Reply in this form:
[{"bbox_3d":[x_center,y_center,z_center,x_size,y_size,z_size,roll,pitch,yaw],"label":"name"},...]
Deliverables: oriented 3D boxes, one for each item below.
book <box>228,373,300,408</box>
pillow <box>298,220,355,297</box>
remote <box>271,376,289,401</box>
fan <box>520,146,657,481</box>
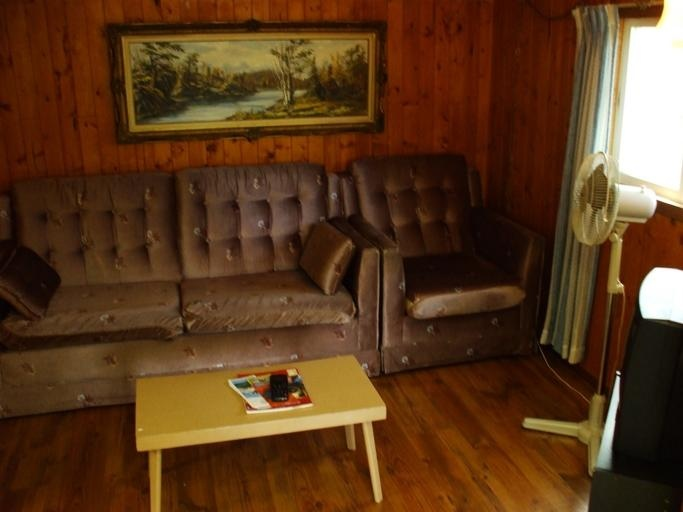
[{"bbox_3d":[-0.363,0.623,2.621,0.190,0.029,0.177,-4,13,-24],"label":"book"},{"bbox_3d":[-0.095,0.026,3.484,0.147,0.415,0.395,6,27,-39],"label":"pillow"},{"bbox_3d":[-0.288,0.603,2.603,0.059,0.025,0.104,0,29,-6],"label":"remote"},{"bbox_3d":[1.240,0.232,2.871,0.468,1.512,0.780,9,24,31],"label":"fan"}]
